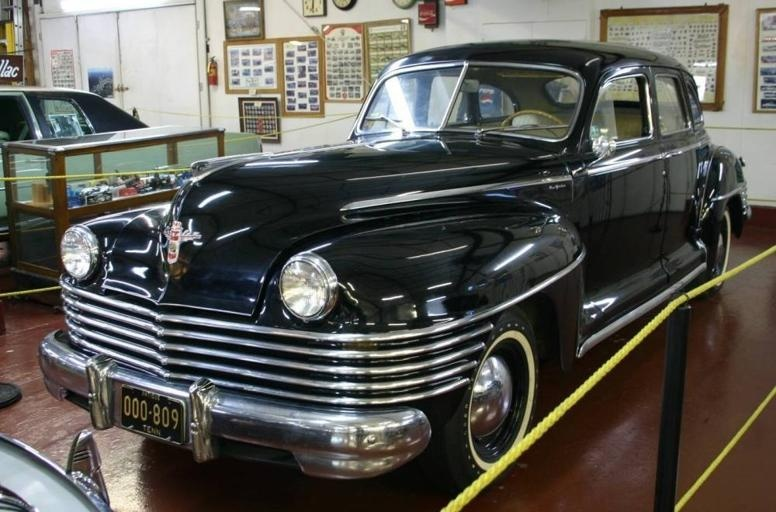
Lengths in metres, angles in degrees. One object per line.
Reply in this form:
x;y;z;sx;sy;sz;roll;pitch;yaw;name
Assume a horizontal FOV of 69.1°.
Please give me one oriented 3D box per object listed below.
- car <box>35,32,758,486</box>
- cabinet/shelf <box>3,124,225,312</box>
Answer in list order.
0.696;-0.141;3.784;1.927;1.640;4.722;4;11;44;car
-2.012;-0.272;3.942;0.507;0.934;1.501;7;16;28;cabinet/shelf
